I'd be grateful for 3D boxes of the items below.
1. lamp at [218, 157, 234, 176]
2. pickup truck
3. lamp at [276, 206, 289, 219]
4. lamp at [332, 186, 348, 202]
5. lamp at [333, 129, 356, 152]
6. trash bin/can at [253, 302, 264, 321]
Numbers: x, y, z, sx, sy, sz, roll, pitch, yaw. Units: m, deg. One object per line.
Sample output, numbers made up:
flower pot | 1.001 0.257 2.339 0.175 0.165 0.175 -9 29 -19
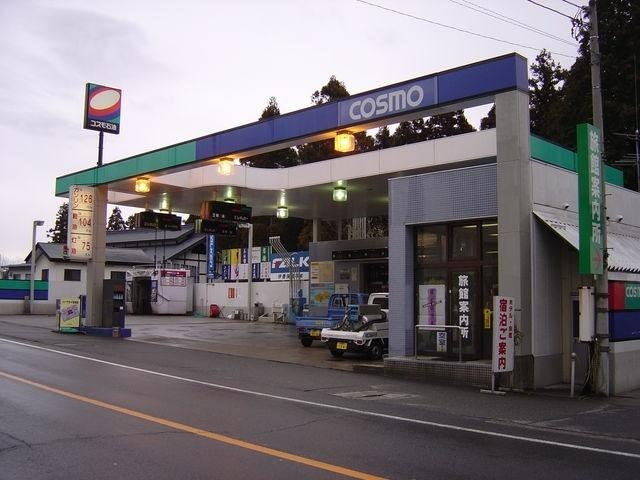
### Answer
lamp | -3.330 -2.647 21.673 0.479 0.784 0.494 0 -1 -27
pickup truck | 1.510 3.227 22.754 2.011 1.842 3.268 -2 -3 34
lamp | -1.733 -1.305 28.362 0.508 0.631 0.533 -3 -5 34
lamp | 0.768 -1.828 24.161 0.479 0.527 0.517 -1 -5 16
lamp | 0.837 -3.104 19.177 0.590 0.967 0.626 1 -1 28
trash bin/can | -4.324 5.068 42.995 0.668 1.217 0.632 2 -3 -9
